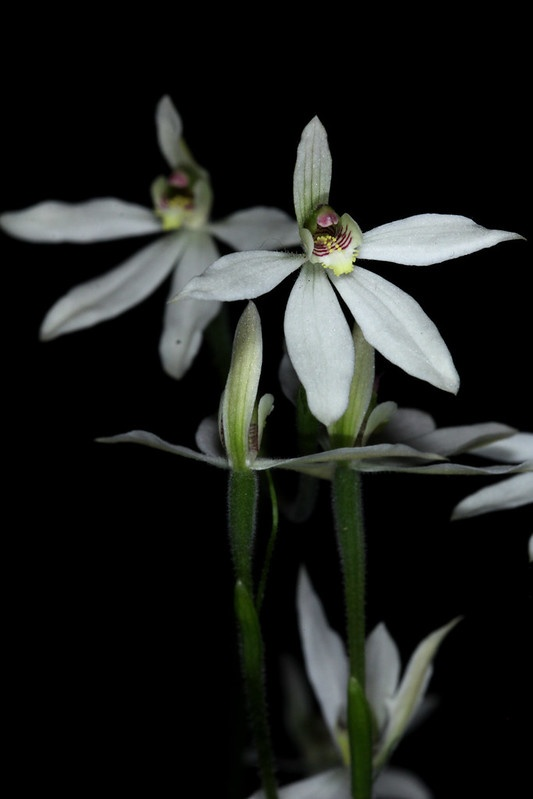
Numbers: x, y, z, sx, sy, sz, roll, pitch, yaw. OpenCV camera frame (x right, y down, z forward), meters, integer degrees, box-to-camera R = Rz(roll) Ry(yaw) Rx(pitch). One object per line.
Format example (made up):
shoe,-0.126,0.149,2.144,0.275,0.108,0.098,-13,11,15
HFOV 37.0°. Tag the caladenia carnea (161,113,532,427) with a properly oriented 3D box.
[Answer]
caladenia carnea,0.039,-0.066,0.399,0.163,0.145,0.079,-2,-1,-2

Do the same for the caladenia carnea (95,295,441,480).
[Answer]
caladenia carnea,-0.007,0.008,0.419,0.112,0.069,0.112,0,1,16
